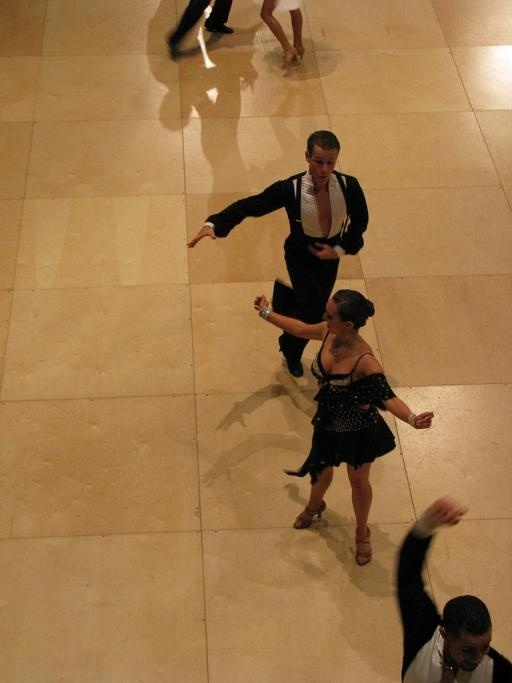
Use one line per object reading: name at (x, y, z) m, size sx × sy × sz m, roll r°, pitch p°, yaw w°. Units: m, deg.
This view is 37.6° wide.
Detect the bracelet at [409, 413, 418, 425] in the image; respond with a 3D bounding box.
bracelet at (0.526, 0.256, 2.535) m, size 0.028 × 0.031 × 0.034 m, roll 1°, pitch 67°, yaw 5°

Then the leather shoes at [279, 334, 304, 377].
leather shoes at (0.170, 0.058, 3.632) m, size 0.061 × 0.171 × 0.174 m, roll -14°, pitch 103°, yaw -11°

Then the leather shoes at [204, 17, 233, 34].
leather shoes at (-0.270, -2.268, 5.363) m, size 0.226 × 0.094 × 0.076 m, roll 1°, pitch 89°, yaw -12°

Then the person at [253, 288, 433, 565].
person at (0.343, 0.396, 3.159) m, size 0.367 × 1.009 × 0.727 m, roll -35°, pitch 56°, yaw -23°

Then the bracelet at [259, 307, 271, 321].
bracelet at (0.039, -0.127, 3.012) m, size 0.040 × 0.048 × 0.035 m, roll -3°, pitch 89°, yaw 0°

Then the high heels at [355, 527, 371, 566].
high heels at (0.434, 0.838, 3.096) m, size 0.060 × 0.044 × 0.164 m, roll -1°, pitch 86°, yaw 15°
